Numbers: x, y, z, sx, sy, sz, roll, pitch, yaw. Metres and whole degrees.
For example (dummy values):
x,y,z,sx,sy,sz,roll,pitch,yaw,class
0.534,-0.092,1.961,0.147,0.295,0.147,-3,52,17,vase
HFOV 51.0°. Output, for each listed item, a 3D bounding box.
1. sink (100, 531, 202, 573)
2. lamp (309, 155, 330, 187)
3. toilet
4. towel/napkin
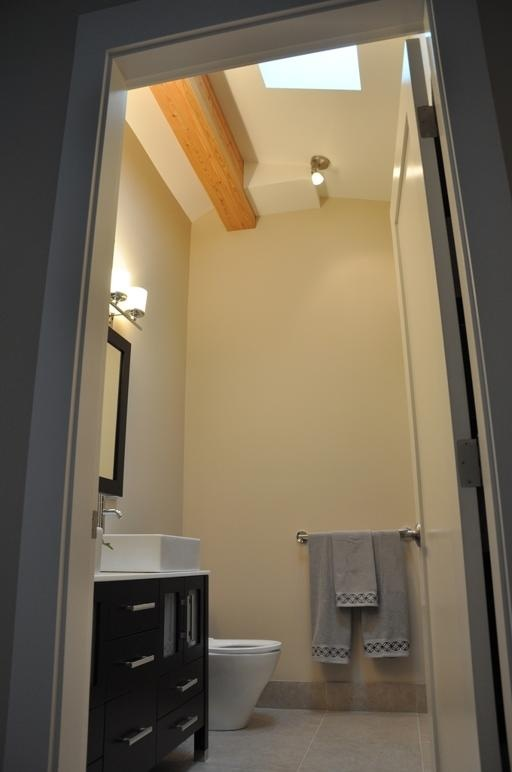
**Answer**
x,y,z,sx,sy,sz,roll,pitch,yaw,class
-0.391,0.631,2.003,0.217,0.166,0.508,-5,-13,10,sink
0.374,-1.279,3.179,0.093,0.182,0.082,4,20,13,lamp
-0.054,1.373,2.510,0.374,0.413,0.346,2,-12,5,toilet
0.534,1.109,2.797,0.530,0.676,0.150,-5,-11,14,towel/napkin
